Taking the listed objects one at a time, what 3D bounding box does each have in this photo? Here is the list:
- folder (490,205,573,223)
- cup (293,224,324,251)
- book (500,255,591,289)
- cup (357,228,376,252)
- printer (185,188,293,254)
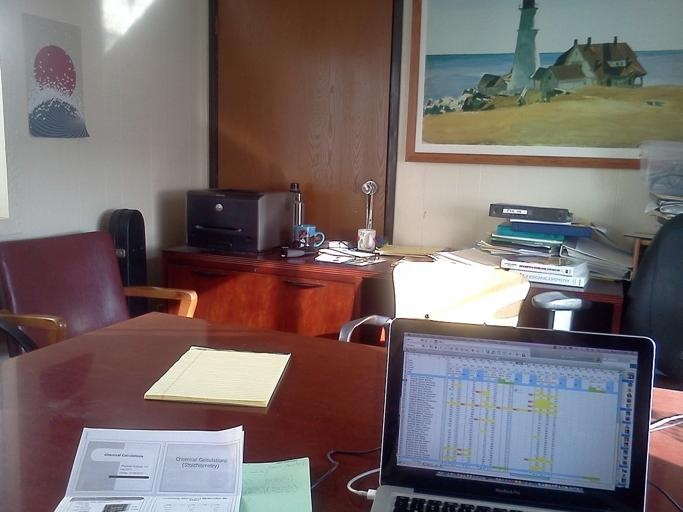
[{"bbox_3d":[1.017,-0.233,2.990,0.417,0.085,0.108,4,12,22],"label":"folder"},{"bbox_3d":[-0.212,-0.121,3.379,0.211,0.192,0.130,1,1,-13],"label":"cup"},{"bbox_3d":[1.037,0.067,2.829,0.410,0.114,0.250,6,12,27],"label":"book"},{"bbox_3d":[0.151,-0.089,3.273,0.143,0.136,0.088,1,6,3],"label":"cup"},{"bbox_3d":[-0.616,-0.205,3.281,0.534,0.344,0.404,3,4,30],"label":"printer"}]
